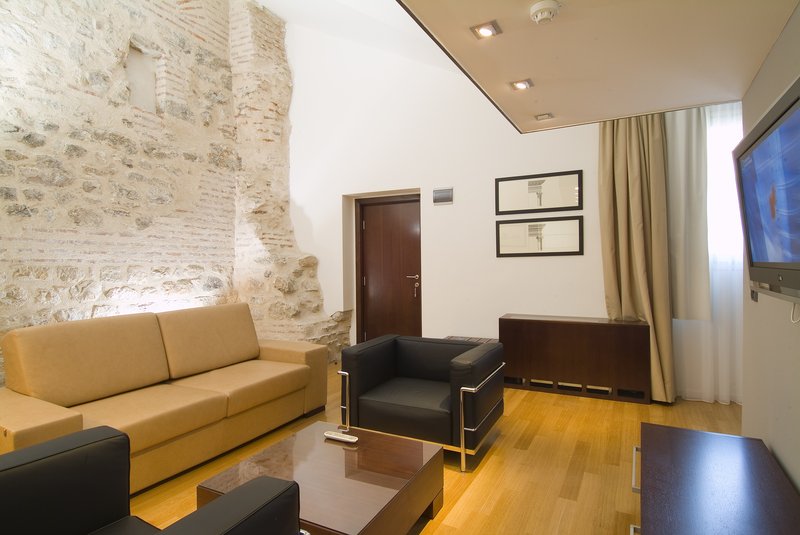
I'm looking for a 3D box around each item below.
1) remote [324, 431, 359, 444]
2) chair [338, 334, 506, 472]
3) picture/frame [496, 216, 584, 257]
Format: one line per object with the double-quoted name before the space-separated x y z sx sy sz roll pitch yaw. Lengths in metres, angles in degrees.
"remote" -0.441 1.265 3.678 0.170 0.033 0.097 1 -1 18
"chair" 0.218 1.064 4.432 1.264 0.739 1.042 1 2 23
"picture/frame" 1.595 -0.350 5.672 0.963 0.443 0.059 -2 5 24
